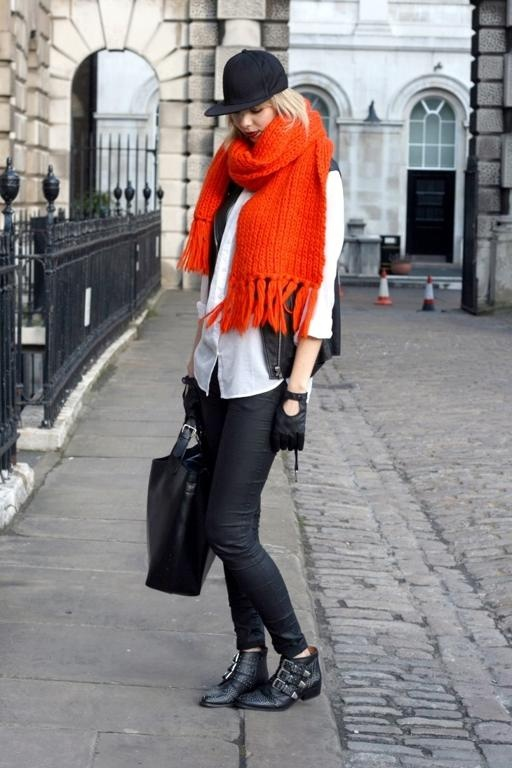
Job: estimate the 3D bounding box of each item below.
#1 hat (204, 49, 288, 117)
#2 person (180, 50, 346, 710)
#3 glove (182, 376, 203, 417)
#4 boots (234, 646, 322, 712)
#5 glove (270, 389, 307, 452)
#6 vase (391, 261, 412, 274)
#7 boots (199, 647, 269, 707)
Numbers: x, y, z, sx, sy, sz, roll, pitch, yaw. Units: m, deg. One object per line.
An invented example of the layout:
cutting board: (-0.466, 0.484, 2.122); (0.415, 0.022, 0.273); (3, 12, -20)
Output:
hat: (0.003, -0.790, 2.996); (0.243, 0.130, 0.171); (-33, 34, -24)
person: (-0.038, -0.010, 3.090); (0.496, 1.834, 0.390); (13, 12, 38)
glove: (-0.166, 0.035, 3.224); (0.045, 0.103, 0.078); (-2, 2, -34)
boots: (0.095, 0.823, 3.215); (0.304, 0.149, 0.115); (-7, 15, -38)
glove: (0.095, 0.097, 2.962); (0.096, 0.156, 0.053); (8, -13, -1)
vase: (3.072, -2.495, 23.621); (0.406, 0.295, 0.455); (6, 9, 3)
boots: (-0.061, 0.828, 3.170); (0.236, 0.129, 0.089); (-8, 12, -37)
